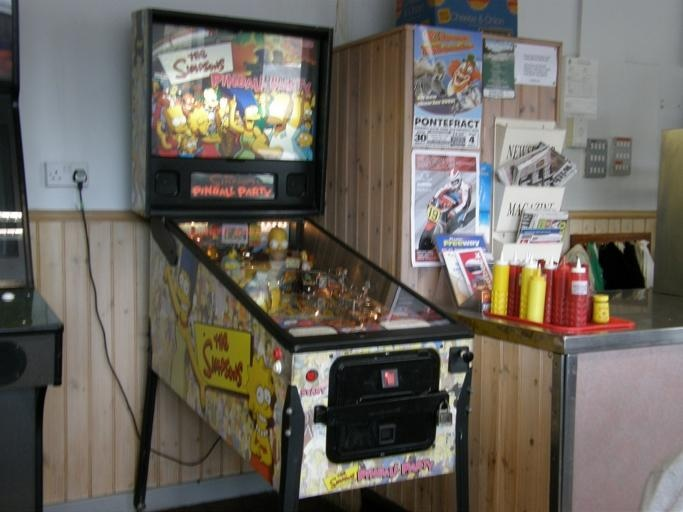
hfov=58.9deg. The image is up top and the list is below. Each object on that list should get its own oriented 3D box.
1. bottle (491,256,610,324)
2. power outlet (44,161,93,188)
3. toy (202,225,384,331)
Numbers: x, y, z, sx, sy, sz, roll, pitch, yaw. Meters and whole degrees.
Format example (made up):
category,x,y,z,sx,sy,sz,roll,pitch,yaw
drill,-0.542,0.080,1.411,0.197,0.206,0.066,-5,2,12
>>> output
category,x,y,z,sx,sy,sz,roll,pitch,yaw
bottle,0.993,0.180,2.776,0.331,0.199,0.360,0,7,0
power outlet,-1.504,-0.449,3.319,0.231,0.141,0.086,-7,10,-32
toy,-0.249,0.052,2.803,0.514,0.332,1.118,-6,11,-30
